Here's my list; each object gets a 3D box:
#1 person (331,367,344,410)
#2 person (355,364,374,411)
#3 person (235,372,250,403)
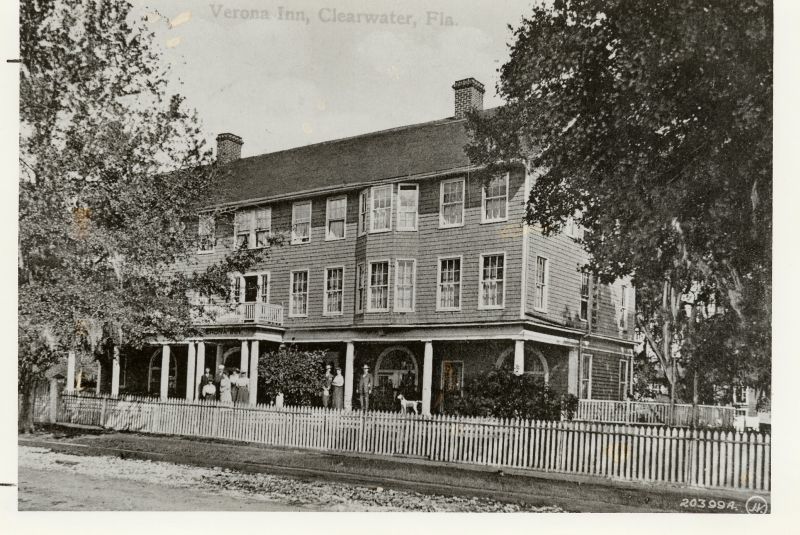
[{"bbox_3d":[-1.637,3.205,24.403,0.306,1.095,0.424,-5,-14,35],"label":"person"},{"bbox_3d":[-0.929,3.180,24.238,0.594,1.115,0.247,-9,-16,44],"label":"person"},{"bbox_3d":[-4.293,3.265,25.065,0.379,0.846,0.335,5,-12,-10],"label":"person"}]
